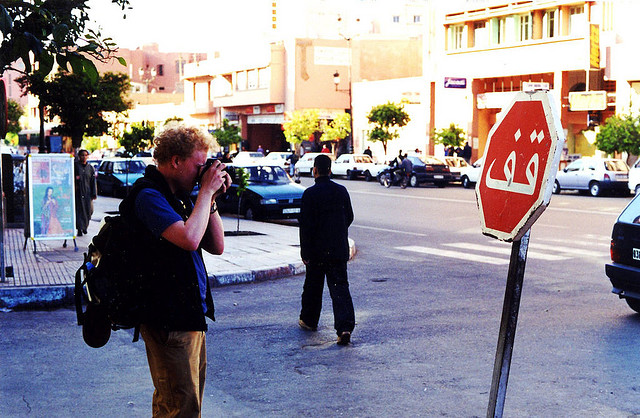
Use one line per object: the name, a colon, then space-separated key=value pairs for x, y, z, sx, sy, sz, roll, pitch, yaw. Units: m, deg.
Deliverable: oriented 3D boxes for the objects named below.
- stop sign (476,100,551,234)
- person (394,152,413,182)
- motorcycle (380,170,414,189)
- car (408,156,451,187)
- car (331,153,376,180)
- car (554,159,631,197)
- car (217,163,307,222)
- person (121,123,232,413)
stop sign: x=1.835 y=-0.411 z=8.446 sx=0.351 sy=1.264 sz=0.691 roll=-5 pitch=11 yaw=-28
person: x=3.714 y=-1.798 z=38.914 sx=0.730 sy=1.082 sz=1.247 roll=5 pitch=10 yaw=24
motorcycle: x=3.371 y=-1.342 z=39.006 sx=1.200 sy=0.758 sz=0.629 roll=4 pitch=5 yaw=36
car: x=4.834 y=-1.681 z=39.432 sx=1.803 sy=1.322 sz=1.138 roll=1 pitch=10 yaw=3
car: x=1.796 y=-2.394 z=47.524 sx=1.449 sy=1.049 sz=3.062 roll=-5 pitch=11 yaw=-25
car: x=10.471 y=-1.275 z=33.886 sx=1.622 sy=1.205 sz=2.881 roll=-3 pitch=7 yaw=-28
car: x=-1.386 y=-0.475 z=24.017 sx=1.512 sy=1.023 sz=3.041 roll=-2 pitch=2 yaw=-27
person: x=-1.481 y=0.575 z=8.915 sx=0.800 sy=2.865 sz=0.791 roll=5 pitch=11 yaw=27
